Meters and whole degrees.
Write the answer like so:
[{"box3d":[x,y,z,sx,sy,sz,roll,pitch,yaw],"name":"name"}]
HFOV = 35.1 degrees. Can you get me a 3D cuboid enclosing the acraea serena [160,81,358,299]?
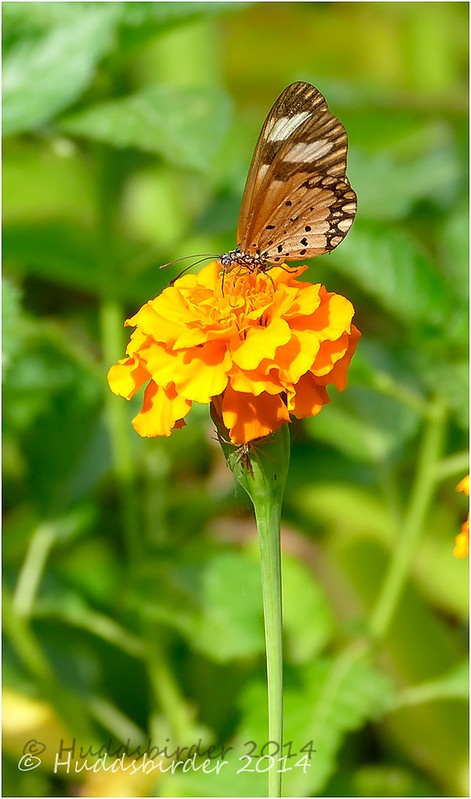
[{"box3d":[0.048,-0.271,0.985,0.252,0.222,0.201,-29,17,-36],"name":"acraea serena"}]
